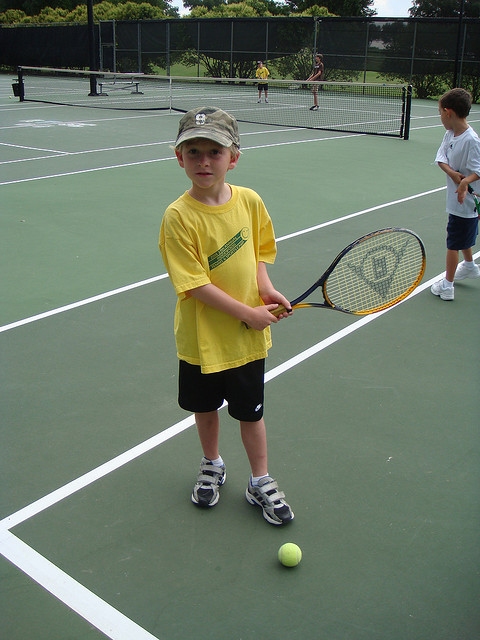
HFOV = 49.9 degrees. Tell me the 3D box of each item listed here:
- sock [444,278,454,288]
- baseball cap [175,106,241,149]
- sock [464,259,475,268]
[{"bbox_3d":[1.883,-0.326,4.655,0.073,0.074,0.067,9,14,43],"label":"sock"},{"bbox_3d":[-0.125,-0.682,1.837,0.213,0.140,0.283,2,12,8],"label":"baseball cap"},{"bbox_3d":[2.204,-0.540,4.964,0.082,0.063,0.081,-2,5,-9],"label":"sock"}]
